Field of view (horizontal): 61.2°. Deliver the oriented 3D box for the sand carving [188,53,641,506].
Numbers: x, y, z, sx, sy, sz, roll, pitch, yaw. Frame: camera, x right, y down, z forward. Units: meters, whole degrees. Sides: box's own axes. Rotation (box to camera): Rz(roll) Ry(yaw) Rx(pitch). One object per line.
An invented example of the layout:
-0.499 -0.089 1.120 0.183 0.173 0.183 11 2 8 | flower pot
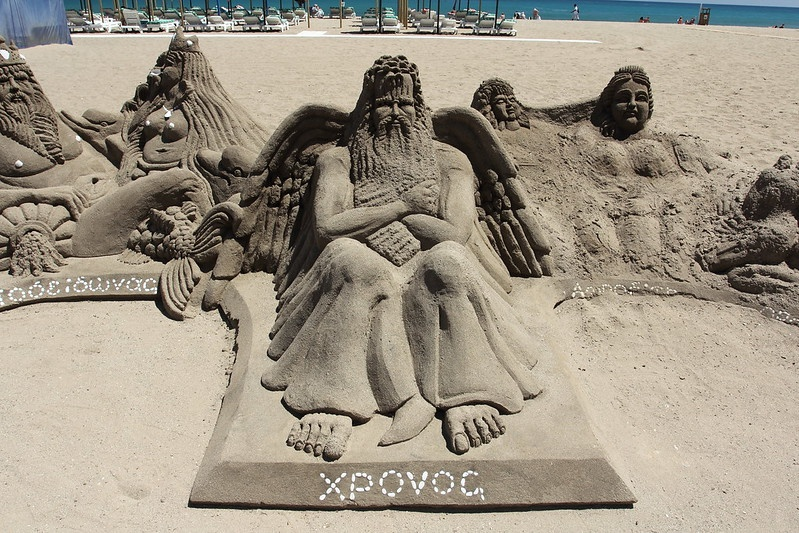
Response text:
0.021 -0.178 5.448 3.278 2.606 3.400 -5 28 -23 | sand carving
